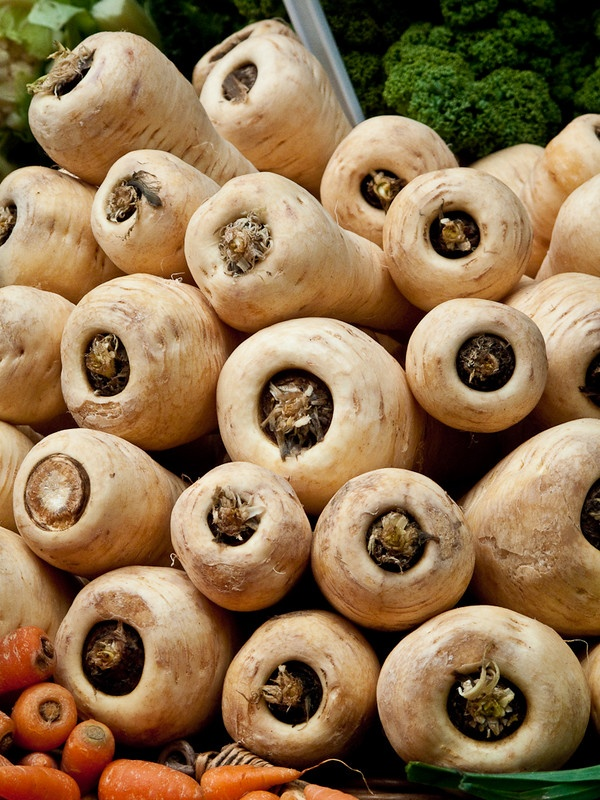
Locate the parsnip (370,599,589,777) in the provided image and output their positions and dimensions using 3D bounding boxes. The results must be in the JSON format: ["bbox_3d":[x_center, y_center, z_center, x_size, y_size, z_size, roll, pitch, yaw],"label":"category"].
[{"bbox_3d":[0.271,0.438,1.193,0.302,0.182,0.229,-23,49,-4],"label":"parsnip"}]

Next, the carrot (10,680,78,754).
[{"bbox_3d":[-0.417,0.522,1.314,0.116,0.134,0.102,-3,59,-23],"label":"carrot"}]

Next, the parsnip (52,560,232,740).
[{"bbox_3d":[-0.283,0.432,1.415,0.313,0.278,0.322,0,73,-31],"label":"parsnip"}]
